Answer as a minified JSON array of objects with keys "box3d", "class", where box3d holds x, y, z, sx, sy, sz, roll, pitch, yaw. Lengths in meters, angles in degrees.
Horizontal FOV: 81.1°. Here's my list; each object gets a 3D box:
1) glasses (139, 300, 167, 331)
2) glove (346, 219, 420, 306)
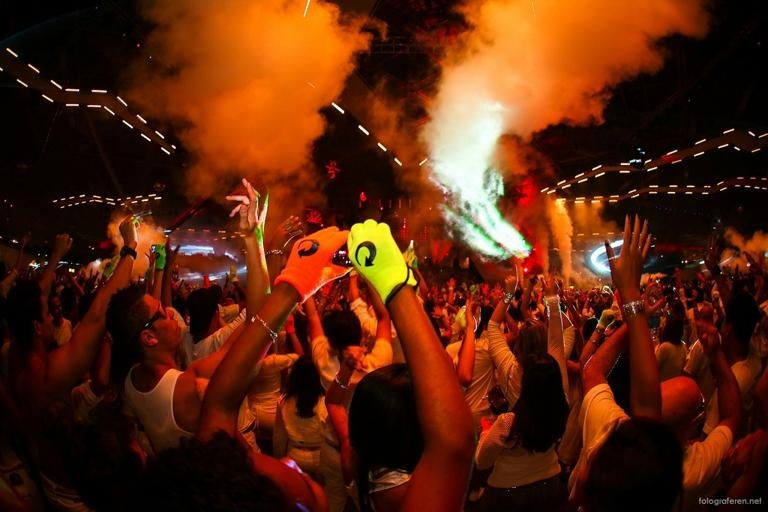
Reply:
[{"box3d":[-2.013,0.526,3.897,0.163,0.160,0.050,-43,-67,-5],"class":"glasses"},{"box3d":[0.000,0.027,3.118,0.370,0.616,0.155,-33,-15,9],"class":"glove"}]
